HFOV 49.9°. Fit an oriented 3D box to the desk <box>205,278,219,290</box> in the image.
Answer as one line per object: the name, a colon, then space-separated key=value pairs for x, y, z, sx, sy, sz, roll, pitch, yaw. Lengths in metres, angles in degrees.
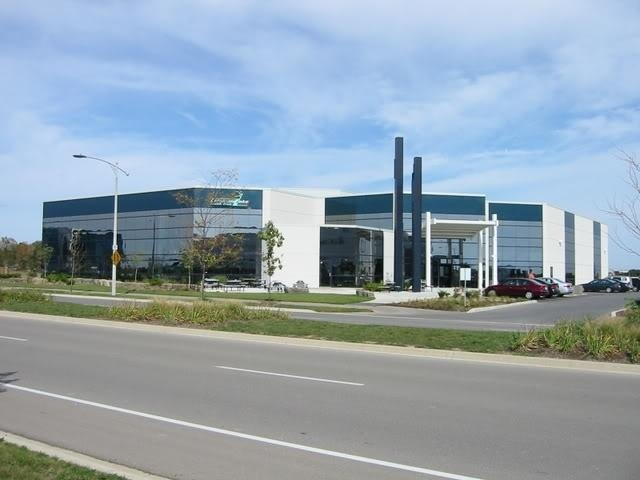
desk: x=-8.766 y=3.474 z=55.307 sx=1.062 sy=0.644 sz=1.030 roll=5 pitch=-8 yaw=-38

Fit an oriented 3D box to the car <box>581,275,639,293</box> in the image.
car: x=23.610 y=3.741 z=56.239 sx=3.003 sy=0.891 sz=1.826 roll=-2 pitch=-4 yaw=39
